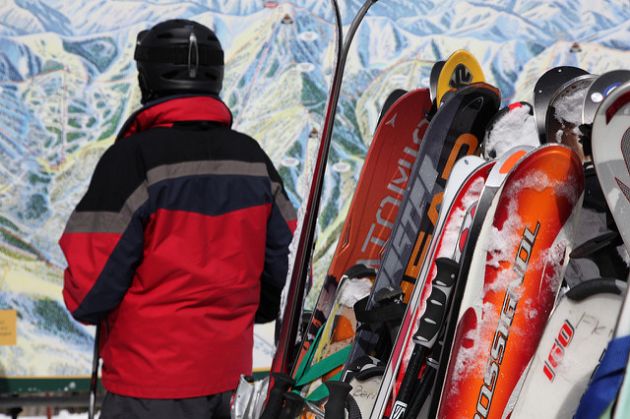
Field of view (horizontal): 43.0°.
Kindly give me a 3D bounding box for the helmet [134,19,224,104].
[{"bbox_3d":[-0.732,-0.833,4.293,0.355,0.465,0.470,1,18,-13],"label":"helmet"}]
